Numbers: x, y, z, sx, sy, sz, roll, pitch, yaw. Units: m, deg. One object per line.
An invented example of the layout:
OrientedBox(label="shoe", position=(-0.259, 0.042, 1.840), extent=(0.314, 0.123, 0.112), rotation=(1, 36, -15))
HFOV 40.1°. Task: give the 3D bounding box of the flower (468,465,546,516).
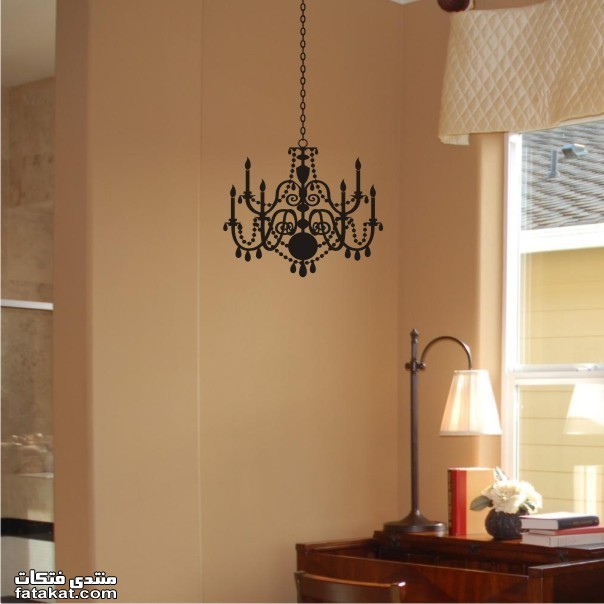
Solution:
OrientedBox(label="flower", position=(0.673, 0.691, 2.913), extent=(0.231, 0.148, 0.227), rotation=(1, -11, -31))

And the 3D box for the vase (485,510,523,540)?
OrientedBox(label="vase", position=(0.692, 0.770, 2.844), extent=(0.092, 0.102, 0.098), rotation=(1, 2, 32))
